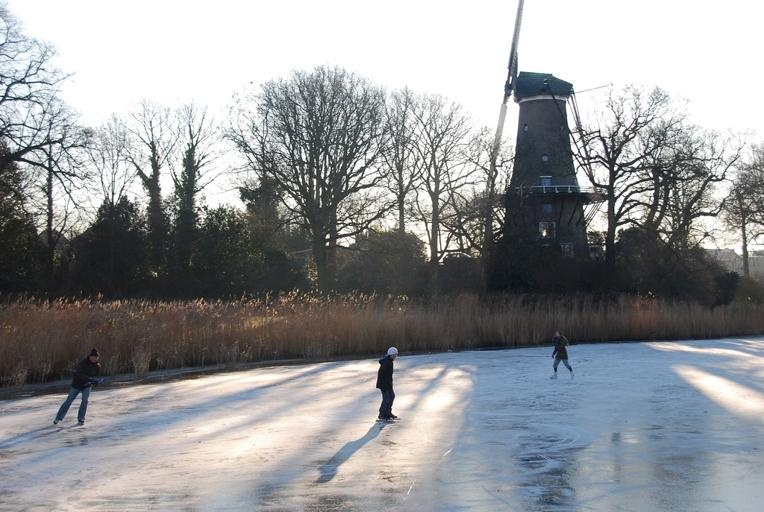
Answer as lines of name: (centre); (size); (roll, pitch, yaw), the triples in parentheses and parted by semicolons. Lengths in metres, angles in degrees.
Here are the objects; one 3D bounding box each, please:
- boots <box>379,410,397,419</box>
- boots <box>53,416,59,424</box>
boots: (0.129, 3.468, 15.214); (0.457, 0.190, 0.177); (1, 6, -26)
boots: (-6.984, 3.530, 14.908); (0.113, 0.171, 0.132); (-13, -11, 43)
